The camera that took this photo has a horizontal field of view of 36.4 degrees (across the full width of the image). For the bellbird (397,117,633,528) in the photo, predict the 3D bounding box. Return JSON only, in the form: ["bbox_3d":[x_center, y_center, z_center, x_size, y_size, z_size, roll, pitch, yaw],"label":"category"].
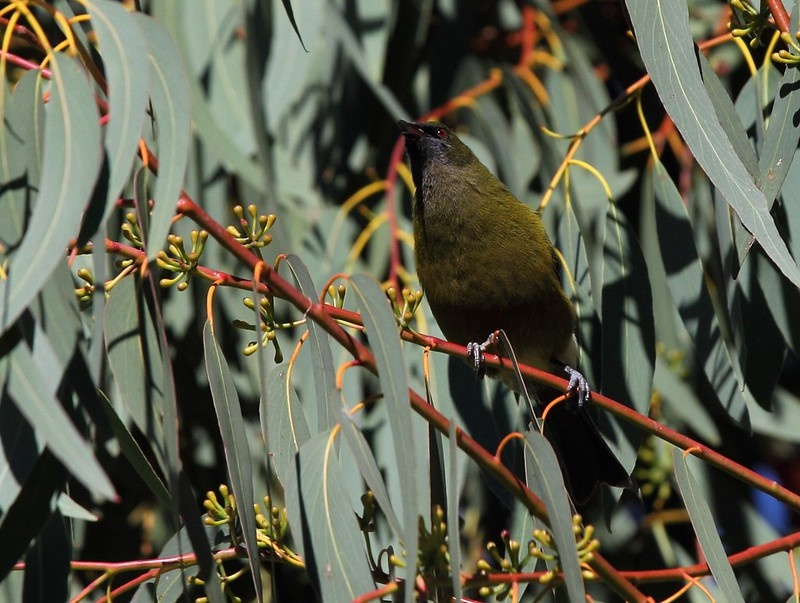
[{"bbox_3d":[0.461,-0.047,5.396,0.482,0.946,1.640,-12,-28,29],"label":"bellbird"}]
